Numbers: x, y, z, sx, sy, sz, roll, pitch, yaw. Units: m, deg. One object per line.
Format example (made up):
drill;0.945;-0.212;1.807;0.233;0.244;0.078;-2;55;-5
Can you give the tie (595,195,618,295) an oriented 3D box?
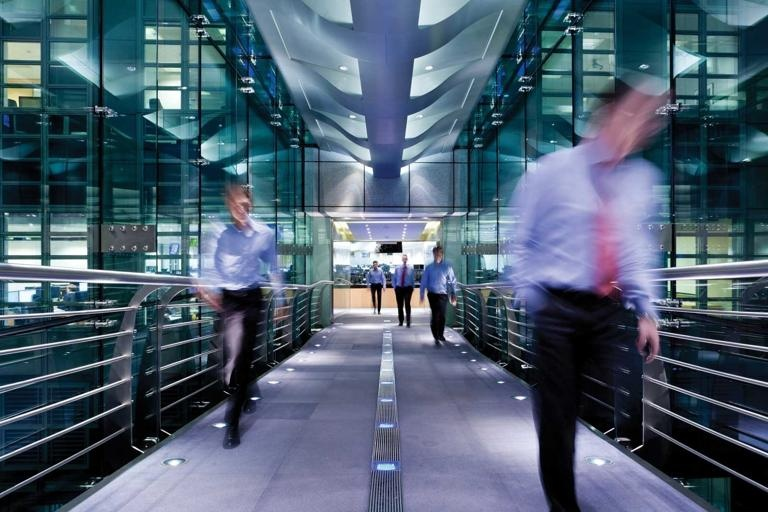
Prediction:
tie;1.333;-0.051;3.288;0.133;0.561;0.086;-5;9;-25

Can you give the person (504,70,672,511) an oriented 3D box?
person;1.273;0.238;3.413;0.876;2.609;0.501;-3;8;-14

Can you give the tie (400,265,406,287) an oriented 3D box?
tie;0.471;0.502;13.312;0.080;0.536;0.192;-7;10;-35

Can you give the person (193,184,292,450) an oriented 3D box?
person;-1.351;0.467;4.897;0.623;2.210;0.865;0;8;11
